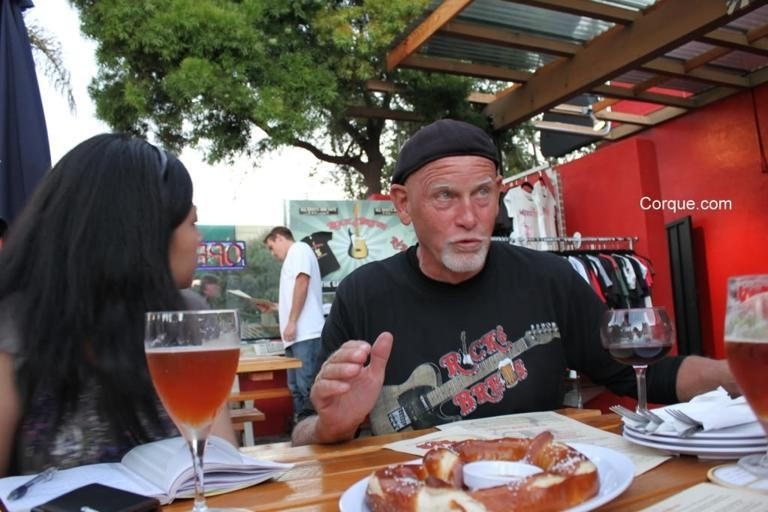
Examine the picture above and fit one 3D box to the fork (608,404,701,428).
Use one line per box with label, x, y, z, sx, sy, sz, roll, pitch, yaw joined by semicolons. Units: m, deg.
fork;0.798;0.450;1.575;0.329;0.062;0.051;-1;-20;-18
